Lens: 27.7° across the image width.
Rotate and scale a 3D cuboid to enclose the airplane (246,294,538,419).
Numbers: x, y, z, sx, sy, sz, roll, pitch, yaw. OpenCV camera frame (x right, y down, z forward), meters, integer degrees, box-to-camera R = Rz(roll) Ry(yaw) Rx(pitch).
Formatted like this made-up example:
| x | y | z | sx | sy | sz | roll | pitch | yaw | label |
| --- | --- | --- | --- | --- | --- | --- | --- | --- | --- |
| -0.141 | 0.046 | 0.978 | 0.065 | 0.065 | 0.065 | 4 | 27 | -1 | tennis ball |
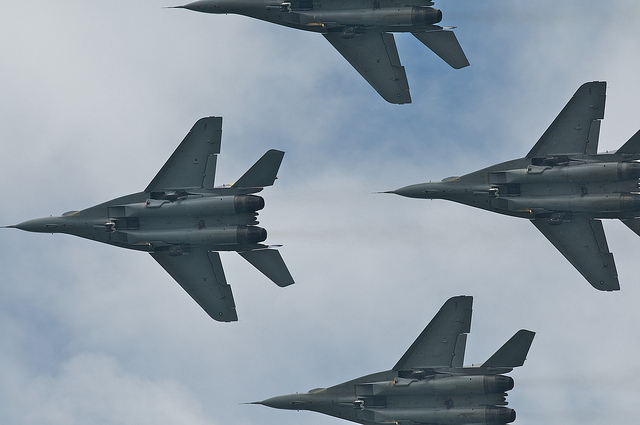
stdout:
| x | y | z | sx | sy | sz | roll | pitch | yaw | label |
| --- | --- | --- | --- | --- | --- | --- | --- | --- | --- |
| 2.493 | 4.543 | 48.907 | 11.051 | 1.951 | 6.976 | 0 | -41 | 1 | airplane |
